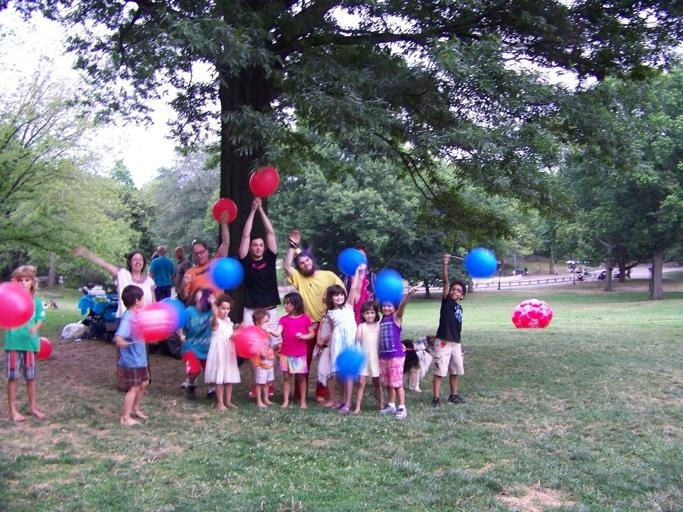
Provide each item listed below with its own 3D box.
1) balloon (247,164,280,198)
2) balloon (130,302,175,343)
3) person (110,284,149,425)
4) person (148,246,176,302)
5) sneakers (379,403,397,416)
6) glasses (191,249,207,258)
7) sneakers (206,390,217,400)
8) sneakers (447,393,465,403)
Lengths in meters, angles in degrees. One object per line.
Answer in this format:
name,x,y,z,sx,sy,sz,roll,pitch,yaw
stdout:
balloon,-1.246,-1.188,8.816,0.382,0.496,0.285,16,-5,5
balloon,-2.469,0.863,7.250,0.479,0.350,0.444,3,-9,-30
person,-2.739,1.278,7.252,0.397,1.773,0.556,0,4,-19
person,-4.397,0.626,13.521,0.590,1.768,0.511,-2,20,-29
sneakers,0.666,2.212,7.982,0.206,0.137,0.105,12,-19,-34
glasses,-2.146,-0.044,8.457,0.264,0.116,0.213,-1,4,-35
sneakers,-1.987,2.113,8.412,0.134,0.124,0.339,1,4,-15
sneakers,1.791,2.236,8.633,0.096,0.113,0.242,3,-8,-28
